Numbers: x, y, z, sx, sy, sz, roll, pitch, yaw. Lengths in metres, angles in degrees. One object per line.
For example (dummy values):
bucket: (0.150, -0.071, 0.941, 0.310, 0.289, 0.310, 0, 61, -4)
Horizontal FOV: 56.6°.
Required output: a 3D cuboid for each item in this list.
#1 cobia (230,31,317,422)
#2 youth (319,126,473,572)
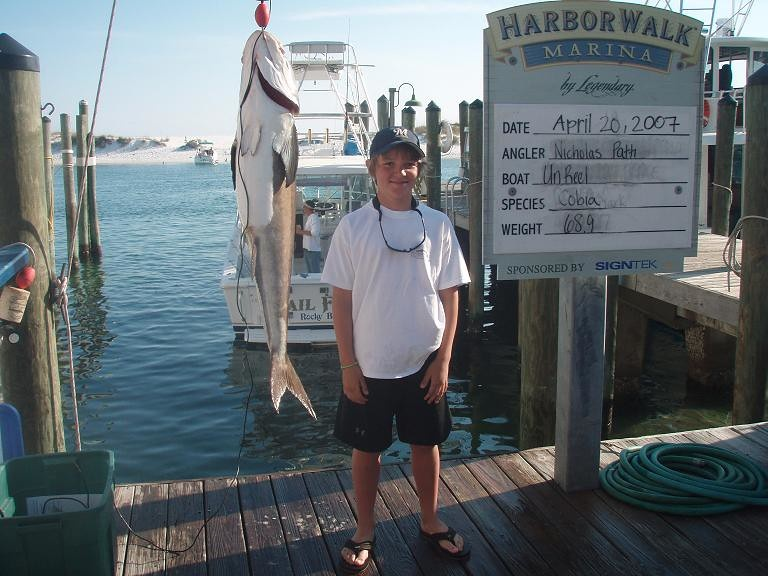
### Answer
cobia: (-0.609, -0.284, 3.726, 0.349, 2.048, 0.570, -3, 12, -12)
youth: (0.065, 0.285, 4.280, 0.730, 2.528, 0.803, 0, 2, -7)
